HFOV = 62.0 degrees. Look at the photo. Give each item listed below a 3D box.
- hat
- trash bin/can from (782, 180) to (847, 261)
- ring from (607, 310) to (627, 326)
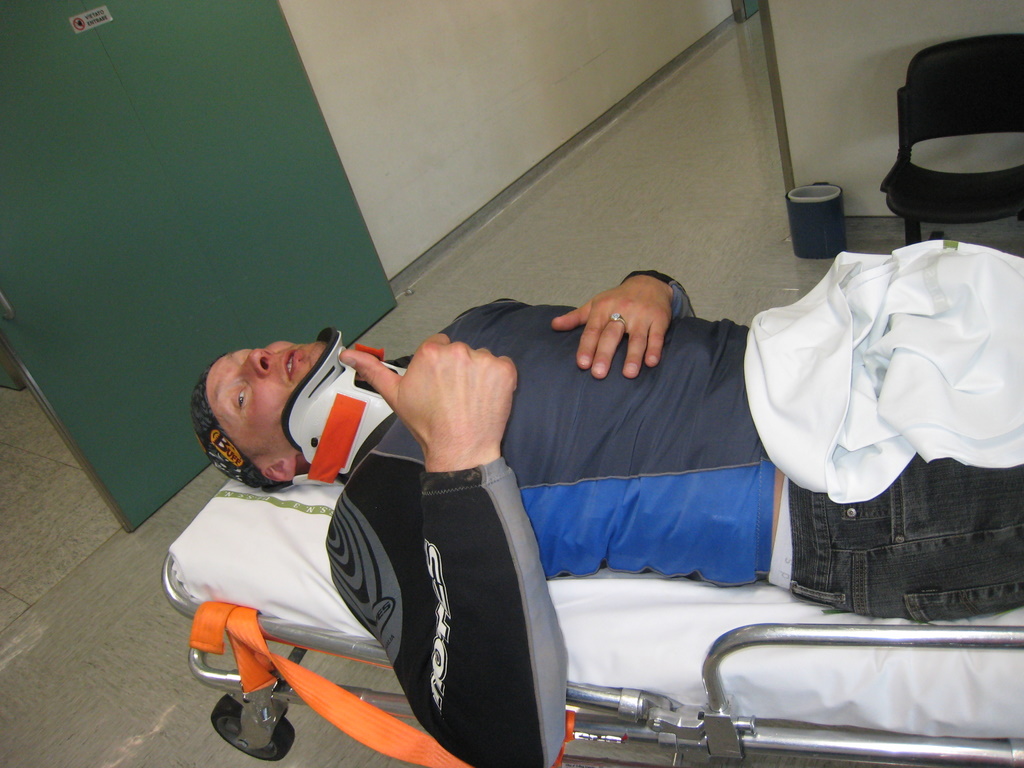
[{"bbox_3d":[-0.786,0.119,2.396,0.274,0.353,0.133,-39,2,-15],"label":"hat"},{"bbox_3d":[1.306,-0.725,3.616,0.232,0.284,0.284,0,36,23],"label":"trash bin/can"},{"bbox_3d":[0.256,-0.162,2.072,0.029,0.038,0.022,-1,-8,11],"label":"ring"}]
